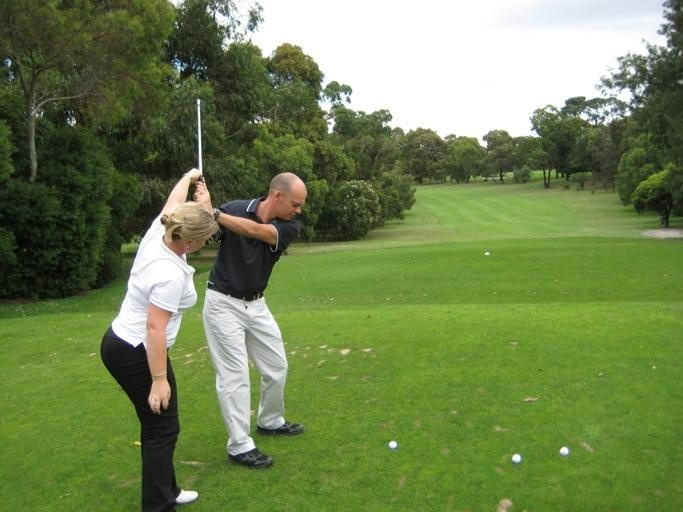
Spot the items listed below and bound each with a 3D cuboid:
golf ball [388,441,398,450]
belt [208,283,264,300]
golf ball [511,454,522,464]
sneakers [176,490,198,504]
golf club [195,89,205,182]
[{"bbox_3d":[0.634,2.358,7.233,0.118,0.076,0.130,3,6,0],"label":"golf ball"},{"bbox_3d":[-1.291,0.438,7.038,0.362,0.085,0.342,13,-3,14],"label":"belt"},{"bbox_3d":[2.105,2.443,6.983,0.097,0.076,0.096,-18,5,2],"label":"golf ball"},{"bbox_3d":[-1.725,2.672,6.463,0.232,0.102,0.107,-6,27,-13],"label":"sneakers"},{"bbox_3d":[-1.988,-1.651,8.144,0.100,1.054,0.098,5,16,14],"label":"golf club"}]
